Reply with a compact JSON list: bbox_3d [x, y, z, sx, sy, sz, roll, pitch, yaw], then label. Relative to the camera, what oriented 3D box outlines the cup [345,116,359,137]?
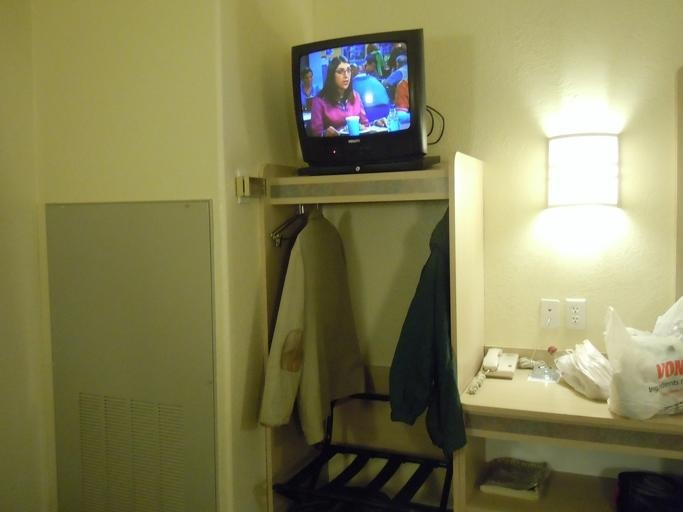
[{"bbox_3d":[0.056,-0.591,2.795,0.066,0.081,0.071,-4,13,1],"label":"cup"}]

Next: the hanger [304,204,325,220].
[{"bbox_3d":[-0.136,-0.223,3.030,0.080,0.086,0.022,2,16,18],"label":"hanger"}]

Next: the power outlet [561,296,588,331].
[{"bbox_3d":[1.106,0.261,2.914,0.137,0.253,0.119,1,4,21],"label":"power outlet"}]

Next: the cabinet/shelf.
[{"bbox_3d":[0.202,0.042,2.952,0.894,1.030,0.604,2,6,24],"label":"cabinet/shelf"}]

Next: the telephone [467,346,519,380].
[{"bbox_3d":[0.709,0.509,2.865,0.116,0.064,0.180,3,12,21],"label":"telephone"}]

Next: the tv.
[{"bbox_3d":[0.138,-0.665,3.036,0.770,0.774,0.569,-1,12,15],"label":"tv"}]
